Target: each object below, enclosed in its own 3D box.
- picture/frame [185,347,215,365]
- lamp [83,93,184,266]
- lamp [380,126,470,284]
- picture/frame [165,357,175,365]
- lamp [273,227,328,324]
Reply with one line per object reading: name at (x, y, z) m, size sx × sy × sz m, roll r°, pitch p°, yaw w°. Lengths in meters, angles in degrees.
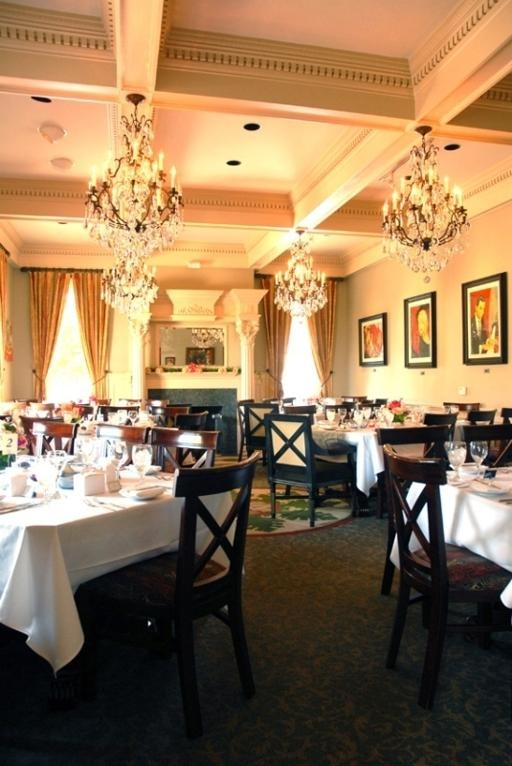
picture/frame at (-1.217, -0.569, 11.088) m, size 0.338 × 0.348 × 0.027 m, roll 3°, pitch -4°, yaw -11°
lamp at (-1.018, -1.875, 4.691) m, size 0.704 × 1.398 × 0.735 m, roll 7°, pitch 16°, yaw 43°
lamp at (1.762, -1.859, 5.208) m, size 0.641 × 1.382 × 0.667 m, roll -7°, pitch 10°, yaw 8°
picture/frame at (-1.823, -0.459, 10.982) m, size 0.150 × 0.187 × 0.021 m, roll 1°, pitch 3°, yaw 0°
lamp at (0.702, -1.779, 8.147) m, size 0.774 × 1.486 × 1.008 m, roll 0°, pitch -3°, yaw 3°
